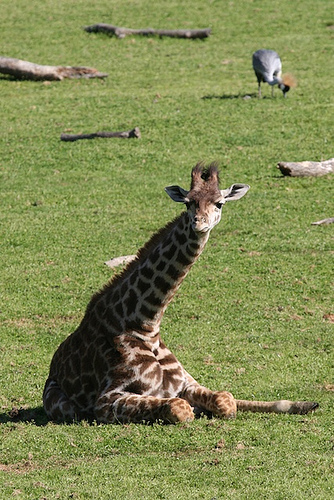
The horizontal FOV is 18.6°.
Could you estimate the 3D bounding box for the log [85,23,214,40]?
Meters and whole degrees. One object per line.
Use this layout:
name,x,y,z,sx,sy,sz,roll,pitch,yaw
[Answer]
log,-0.756,-8.571,39.892,4.758,0.701,0.870,6,15,-4

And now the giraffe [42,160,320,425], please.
giraffe,-0.494,0.924,16.416,4.725,4.033,2.089,-12,-13,35
